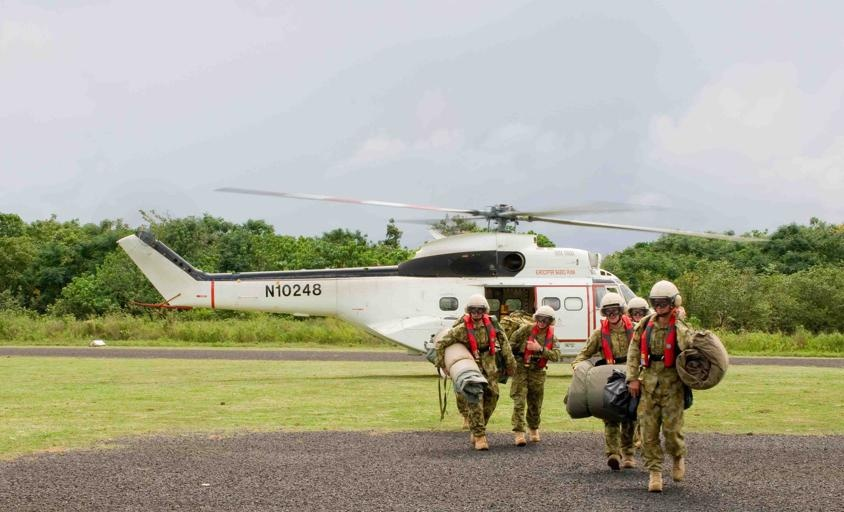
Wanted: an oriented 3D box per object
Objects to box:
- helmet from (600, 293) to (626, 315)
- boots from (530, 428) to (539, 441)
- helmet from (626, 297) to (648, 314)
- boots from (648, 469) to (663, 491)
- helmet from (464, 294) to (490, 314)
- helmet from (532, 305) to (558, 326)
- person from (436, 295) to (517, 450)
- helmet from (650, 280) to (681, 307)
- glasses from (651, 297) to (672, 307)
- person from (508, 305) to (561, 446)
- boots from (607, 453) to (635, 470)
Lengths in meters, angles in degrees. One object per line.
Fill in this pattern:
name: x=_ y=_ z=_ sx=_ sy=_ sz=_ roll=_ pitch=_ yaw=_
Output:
helmet: x=4.225 y=1.029 z=19.507 sx=0.539 sy=0.373 sz=0.547 roll=0 pitch=14 yaw=16
boots: x=2.581 y=4.149 z=20.181 sx=0.247 sy=0.254 sz=0.414 roll=1 pitch=-4 yaw=8
helmet: x=4.782 y=1.082 z=19.484 sx=0.383 sy=0.279 sz=0.380 roll=2 pitch=19 yaw=13
boots: x=4.646 y=4.499 z=17.488 sx=0.315 sy=0.404 sz=0.258 roll=1 pitch=-5 yaw=6
helmet: x=1.238 y=1.118 z=20.158 sx=0.506 sy=0.398 sz=0.502 roll=0 pitch=-8 yaw=0
helmet: x=2.881 y=1.397 z=20.640 sx=0.483 sy=0.392 sz=0.540 roll=9 pitch=13 yaw=4
person: x=1.229 y=2.618 z=19.905 sx=1.732 sy=3.462 sz=1.094 roll=1 pitch=-5 yaw=0
helmet: x=4.909 y=0.766 z=17.942 sx=0.610 sy=0.412 sz=0.559 roll=1 pitch=13 yaw=-8
glasses: x=4.829 y=0.942 z=17.768 sx=0.448 sy=0.170 sz=0.170 roll=-2 pitch=-5 yaw=33
person: x=2.678 y=2.851 z=20.438 sx=1.478 sy=2.804 sz=1.195 roll=0 pitch=-1 yaw=-1
boots: x=4.195 y=4.363 z=18.650 sx=0.781 sy=0.266 sz=0.273 roll=-1 pitch=1 yaw=-39
